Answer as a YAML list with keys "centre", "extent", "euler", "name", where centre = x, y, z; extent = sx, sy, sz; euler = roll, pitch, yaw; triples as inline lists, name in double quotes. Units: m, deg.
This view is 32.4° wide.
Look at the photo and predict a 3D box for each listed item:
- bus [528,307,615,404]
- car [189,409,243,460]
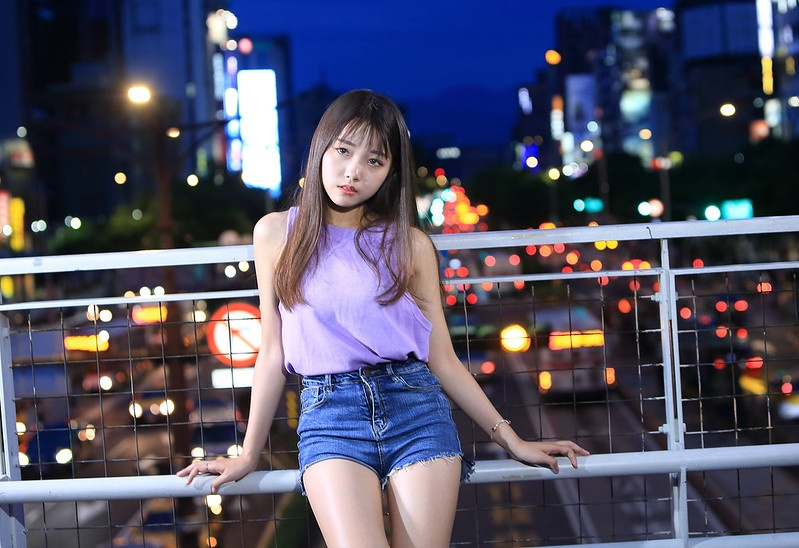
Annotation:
- centre: [12.054, 6.077, 93.952]
  extent: [4.621, 5.069, 9.088]
  euler: [-1, 9, 1]
  name: "bus"
- centre: [-12.349, 10.769, 95.155]
  extent: [3.351, 3.403, 6.273]
  euler: [-2, 1, -1]
  name: "car"
